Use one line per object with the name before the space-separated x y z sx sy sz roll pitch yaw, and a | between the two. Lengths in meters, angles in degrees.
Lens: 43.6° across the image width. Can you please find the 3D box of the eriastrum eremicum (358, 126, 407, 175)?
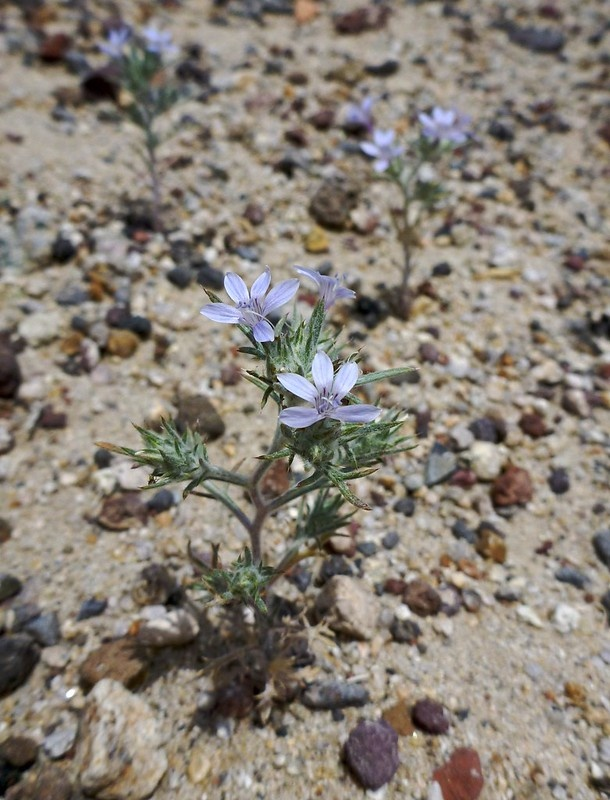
eriastrum eremicum | 0.332 -1.121 3.541 0.237 0.099 0.230 -18 93 -20

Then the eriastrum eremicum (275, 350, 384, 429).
eriastrum eremicum | 0.047 0.000 2.159 0.279 0.250 0.230 6 44 -7

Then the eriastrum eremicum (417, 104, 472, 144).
eriastrum eremicum | 0.639 -1.270 3.586 0.249 0.107 0.231 5 62 1

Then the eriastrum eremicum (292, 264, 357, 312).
eriastrum eremicum | 0.067 -0.341 2.463 0.206 0.244 0.101 23 81 9

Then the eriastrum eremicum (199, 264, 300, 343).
eriastrum eremicum | -0.149 -0.286 2.268 0.163 0.232 0.089 10 61 -43
